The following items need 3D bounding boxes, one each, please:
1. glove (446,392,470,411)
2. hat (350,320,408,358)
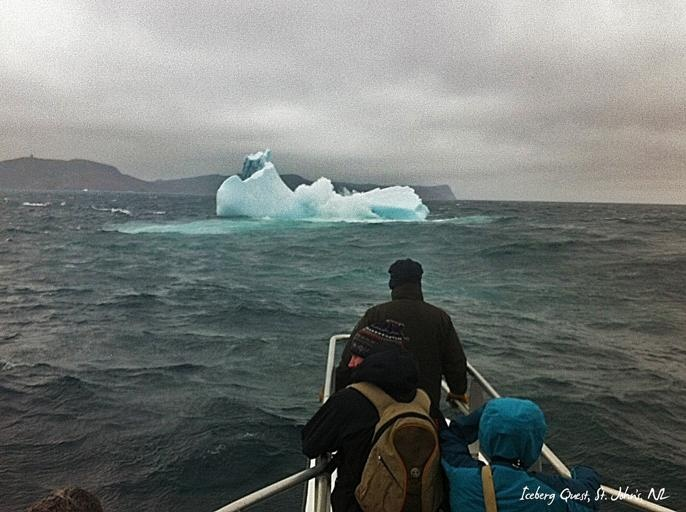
[{"bbox_3d":[1.109,1.371,4.984,0.077,0.126,0.197,-45,9,-28],"label":"glove"},{"bbox_3d":[0.280,0.643,4.103,0.382,0.262,0.261,-2,-3,-11],"label":"hat"}]
